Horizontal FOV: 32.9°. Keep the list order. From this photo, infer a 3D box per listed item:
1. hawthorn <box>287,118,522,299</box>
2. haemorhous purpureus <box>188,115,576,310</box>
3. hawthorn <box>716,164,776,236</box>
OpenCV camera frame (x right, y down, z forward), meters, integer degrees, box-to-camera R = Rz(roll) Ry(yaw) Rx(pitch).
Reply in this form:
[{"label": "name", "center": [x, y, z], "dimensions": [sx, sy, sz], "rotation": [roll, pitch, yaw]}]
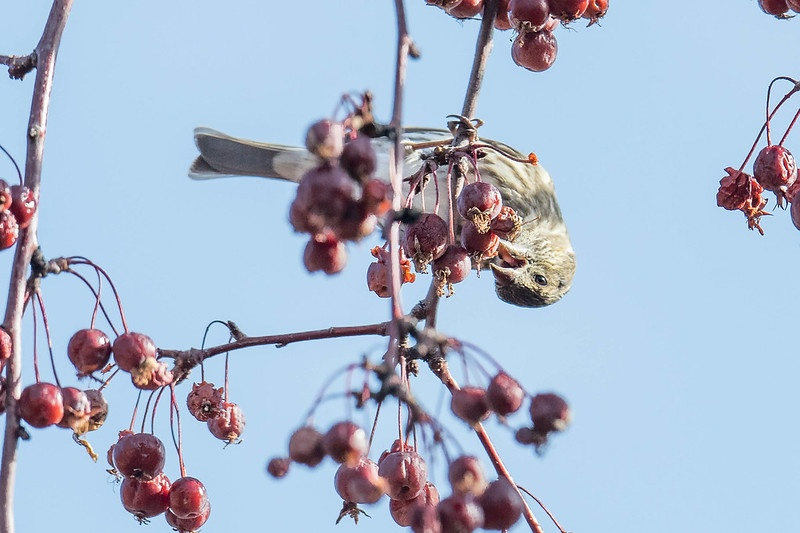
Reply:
[{"label": "hawthorn", "center": [-0.059, -0.254, 5.036], "dimensions": [0.625, 0.679, 0.379], "rotation": [19, -79, 22]}, {"label": "haemorhous purpureus", "center": [0.193, -0.252, 6.003], "dimensions": [1.303, 0.618, 0.540], "rotation": [18, -76, 18]}, {"label": "hawthorn", "center": [1.544, -0.332, 6.038], "dimensions": [0.232, 0.482, 0.313], "rotation": [17, -83, 15]}]
